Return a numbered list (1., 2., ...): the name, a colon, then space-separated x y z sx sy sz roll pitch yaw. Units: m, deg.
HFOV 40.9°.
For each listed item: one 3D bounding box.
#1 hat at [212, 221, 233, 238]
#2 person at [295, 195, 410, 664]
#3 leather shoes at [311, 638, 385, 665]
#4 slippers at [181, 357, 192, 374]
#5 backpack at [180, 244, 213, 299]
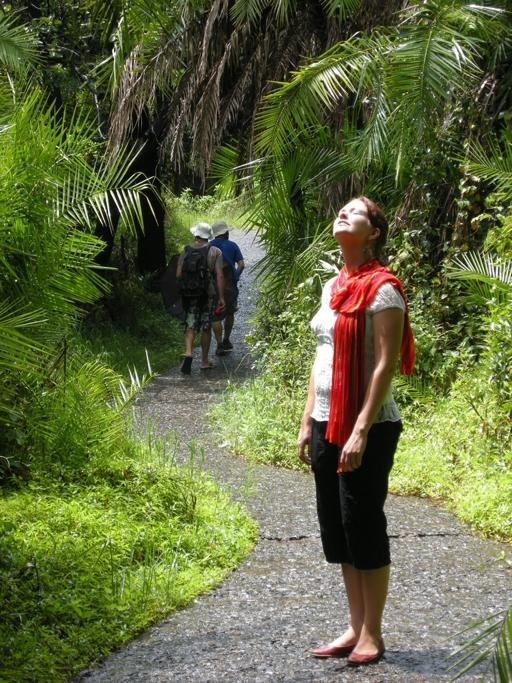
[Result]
1. hat: -0.553 -1.829 11.185 0.299 0.146 0.289 -10 10 -39
2. person: 0.377 0.317 2.462 0.325 1.677 0.493 2 2 -7
3. leather shoes: 0.318 1.100 2.408 0.189 0.047 0.105 9 -10 -9
4. slippers: -0.947 0.333 9.392 0.116 0.292 0.129 7 8 -1
5. backpack: -0.878 -0.973 9.555 0.426 0.723 0.276 3 2 31
